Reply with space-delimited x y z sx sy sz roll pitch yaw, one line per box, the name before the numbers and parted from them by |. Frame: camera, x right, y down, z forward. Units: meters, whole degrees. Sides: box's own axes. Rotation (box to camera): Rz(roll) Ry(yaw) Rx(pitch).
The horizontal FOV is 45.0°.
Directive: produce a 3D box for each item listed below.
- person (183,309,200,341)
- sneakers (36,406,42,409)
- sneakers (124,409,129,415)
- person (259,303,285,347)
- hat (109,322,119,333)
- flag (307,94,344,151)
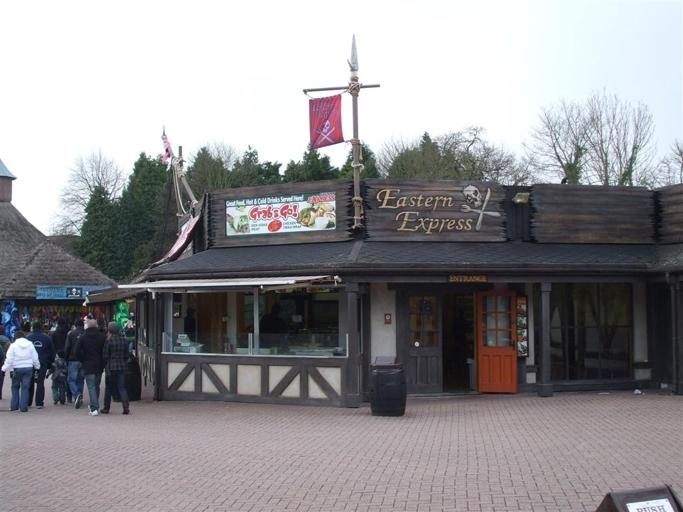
person | -3.963 1.749 21.427 0.331 0.908 0.940 0 -6 -11
sneakers | -7.343 3.625 19.873 0.131 0.058 0.057 -1 3 -6
sneakers | -4.969 3.559 18.899 0.140 0.090 0.229 0 -6 -19
person | -1.698 1.720 20.553 0.691 1.117 0.581 -2 -5 9
hat | -5.301 1.635 19.059 0.200 0.273 0.264 1 4 -8
flag | -0.425 -3.580 21.699 1.062 1.368 0.274 -5 -6 35
